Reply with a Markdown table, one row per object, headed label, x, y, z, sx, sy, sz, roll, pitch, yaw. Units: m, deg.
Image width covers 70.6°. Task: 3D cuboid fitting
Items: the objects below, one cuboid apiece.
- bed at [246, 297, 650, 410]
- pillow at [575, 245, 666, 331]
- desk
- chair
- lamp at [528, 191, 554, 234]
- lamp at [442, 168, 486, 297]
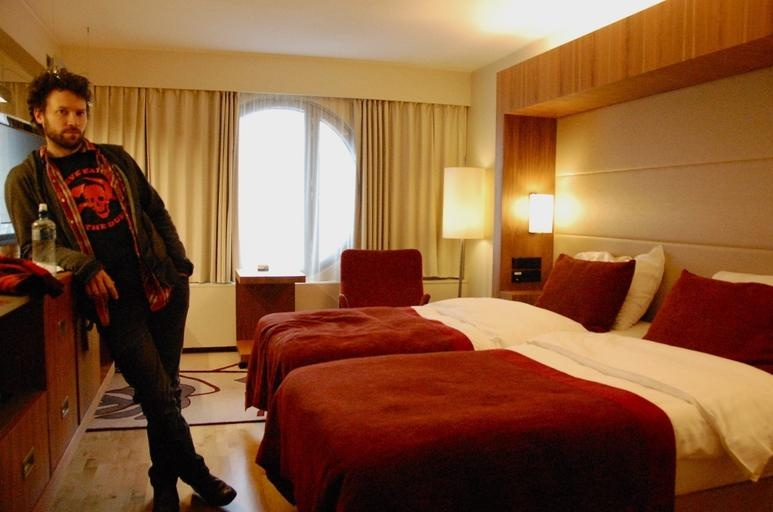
| label | x | y | z | sx | sy | sz | roll | pitch | yaw |
| --- | --- | --- | --- | --- | --- | --- | --- | --- | --- |
| bed | 0.035 | 0.537 | 3.878 | 1.574 | 0.472 | 1.218 | -3 | 6 | -17 |
| pillow | 1.928 | 0.246 | 4.182 | 0.594 | 0.590 | 0.180 | 9 | -3 | 29 |
| desk | -1.344 | 0.620 | 5.750 | 0.894 | 1.224 | 0.855 | 0 | -1 | -16 |
| chair | -0.051 | 0.213 | 5.585 | 0.616 | 0.851 | 0.675 | 0 | -1 | -9 |
| lamp | 1.471 | -0.408 | 5.225 | 0.245 | 0.388 | 0.162 | 2 | 13 | 14 |
| lamp | 0.858 | -0.279 | 5.904 | 0.532 | 1.363 | 0.421 | -2 | 12 | -4 |
